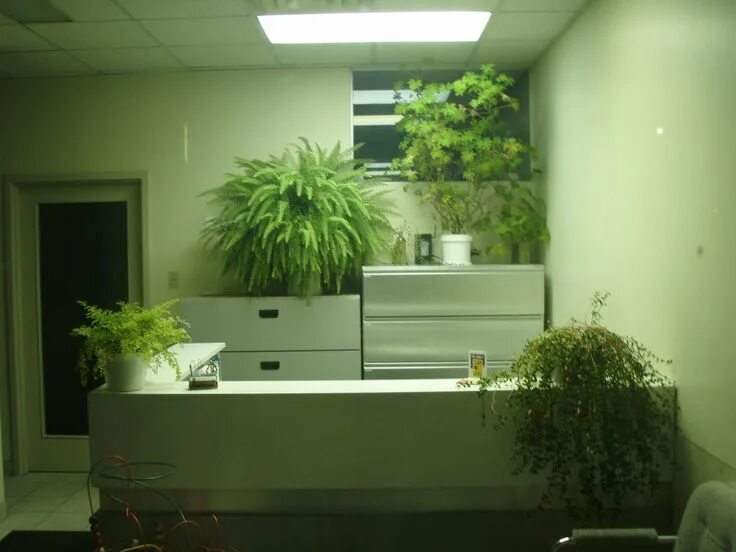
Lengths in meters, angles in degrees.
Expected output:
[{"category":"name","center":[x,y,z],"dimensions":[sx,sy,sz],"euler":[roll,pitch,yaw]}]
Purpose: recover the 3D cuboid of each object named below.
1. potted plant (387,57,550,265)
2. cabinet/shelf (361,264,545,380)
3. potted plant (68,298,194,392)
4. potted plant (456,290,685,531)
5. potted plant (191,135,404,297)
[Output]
[{"category":"potted plant","center":[0.695,-0.780,4.942],"dimensions":[1.031,1.393,0.484],"euler":[0,1,-6]},{"category":"cabinet/shelf","center":[0.566,0.305,4.925],"dimensions":[1.197,0.893,0.642],"euler":[-1,12,3]},{"category":"potted plant","center":[-1.216,0.378,3.584],"dimensions":[0.396,0.385,0.467],"euler":[-2,-9,5]},{"category":"potted plant","center":[0.937,0.653,3.711],"dimensions":[1.022,1.191,0.935],"euler":[2,-7,-12]},{"category":"potted plant","center":[-0.454,-0.275,4.817],"dimensions":[1.076,0.858,1.122],"euler":[1,-4,1]}]
